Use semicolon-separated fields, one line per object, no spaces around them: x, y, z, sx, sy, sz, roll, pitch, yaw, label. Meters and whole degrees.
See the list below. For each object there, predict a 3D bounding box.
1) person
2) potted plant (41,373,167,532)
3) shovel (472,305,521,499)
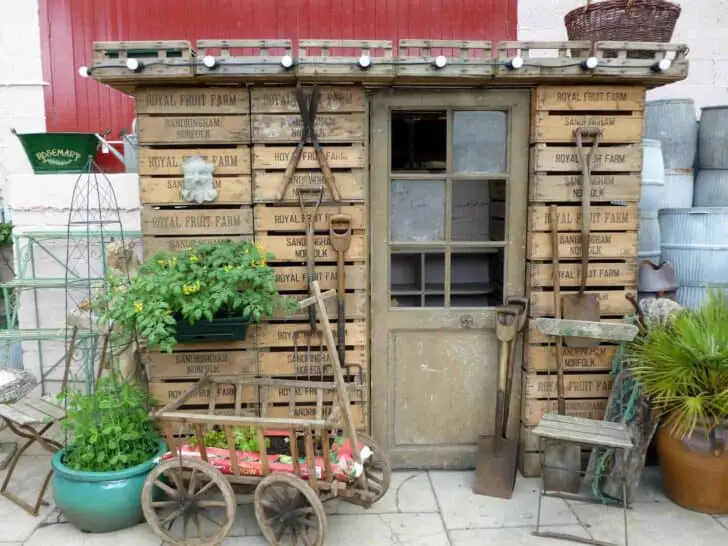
-1.940;0.381;6.455;0.404;1.311;0.477;1;9;-14;person
-1.746;1.296;5.942;0.939;1.313;0.994;9;11;43;potted plant
1.049;0.987;6.158;0.351;1.435;0.386;5;8;9;shovel
